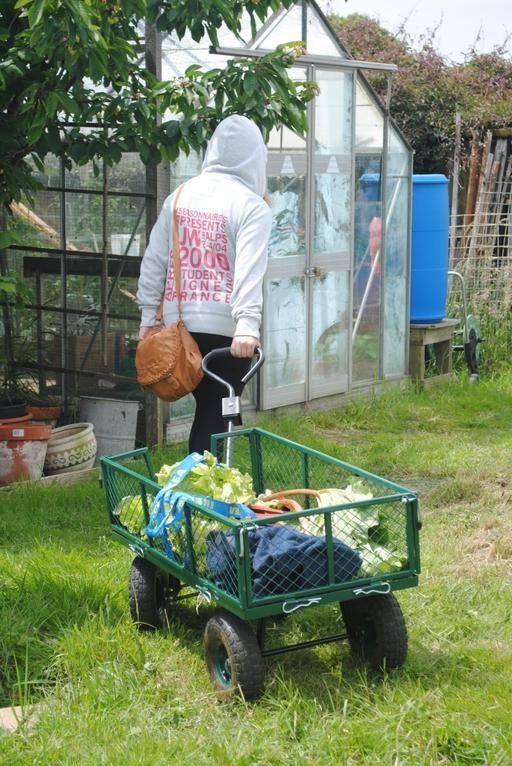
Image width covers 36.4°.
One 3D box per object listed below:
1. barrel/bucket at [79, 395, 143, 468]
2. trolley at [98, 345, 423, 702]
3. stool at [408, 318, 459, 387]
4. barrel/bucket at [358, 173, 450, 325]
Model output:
[{"bbox_3d":[-0.990,0.311,5.251,0.446,0.481,0.437,5,6,0],"label":"barrel/bucket"},{"bbox_3d":[-0.028,0.414,2.506,0.616,0.854,1.105,-7,9,-26],"label":"trolley"},{"bbox_3d":[1.673,-0.371,7.913,0.596,0.736,0.796,4,5,36],"label":"stool"},{"bbox_3d":[1.682,-1.295,7.572,0.482,1.420,0.244,-7,8,-25],"label":"barrel/bucket"}]
